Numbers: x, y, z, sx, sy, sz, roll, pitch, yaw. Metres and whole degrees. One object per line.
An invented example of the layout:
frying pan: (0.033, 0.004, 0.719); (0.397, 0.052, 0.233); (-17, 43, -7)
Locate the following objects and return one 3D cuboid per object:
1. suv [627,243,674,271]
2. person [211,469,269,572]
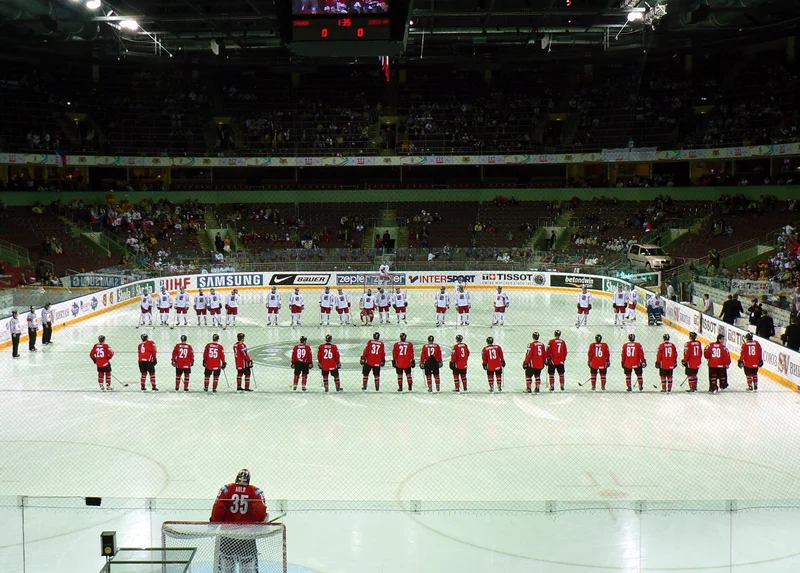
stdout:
suv: (15.112, -1.832, 46.464); (1.752, 1.458, 2.917); (-4, 7, -20)
person: (-2.649, 3.870, 12.523); (0.944, 1.423, 0.938); (-2, 9, -14)
